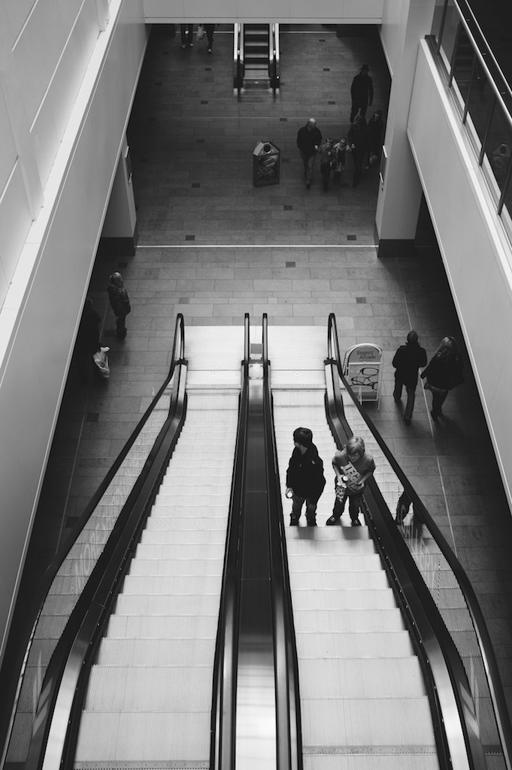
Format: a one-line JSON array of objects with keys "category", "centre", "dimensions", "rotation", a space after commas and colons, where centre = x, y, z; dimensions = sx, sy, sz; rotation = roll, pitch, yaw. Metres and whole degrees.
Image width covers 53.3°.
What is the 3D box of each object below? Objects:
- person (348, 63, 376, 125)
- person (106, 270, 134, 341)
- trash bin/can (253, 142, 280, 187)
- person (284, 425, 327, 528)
[{"category": "person", "centre": [2.715, -7.305, 12.932], "dimensions": [0.475, 1.592, 0.429], "rotation": [26, 55, 23]}, {"category": "person", "centre": [-2.593, -1.433, 9.587], "dimensions": [0.316, 1.204, 0.400], "rotation": [-23, 68, -16]}, {"category": "trash bin/can", "centre": [0.254, -5.430, 12.522], "dimensions": [0.647, 0.873, 0.541], "rotation": [0, 41, 2]}, {"category": "person", "centre": [0.434, 0.813, 4.458], "dimensions": [0.311, 1.588, 0.454], "rotation": [4, 39, 7]}]
